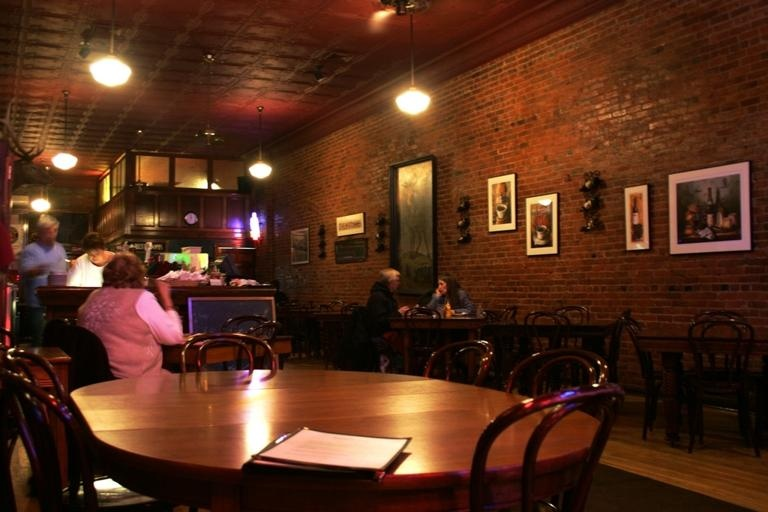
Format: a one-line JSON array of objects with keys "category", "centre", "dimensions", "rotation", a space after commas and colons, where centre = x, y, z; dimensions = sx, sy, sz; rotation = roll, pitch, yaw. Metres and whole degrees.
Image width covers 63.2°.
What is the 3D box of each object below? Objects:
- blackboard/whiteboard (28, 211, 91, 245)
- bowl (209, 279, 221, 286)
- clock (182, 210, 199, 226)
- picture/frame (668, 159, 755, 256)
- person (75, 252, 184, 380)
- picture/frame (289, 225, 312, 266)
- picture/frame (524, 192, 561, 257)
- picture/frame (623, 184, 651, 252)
[{"category": "blackboard/whiteboard", "centre": [-7.982, -0.693, 15.340], "dimensions": [1.780, 1.030, 0.117], "rotation": [0, -3, -23]}, {"category": "bowl", "centre": [-1.756, 0.282, 6.599], "dimensions": [0.148, 0.055, 0.094], "rotation": [1, 5, -26]}, {"category": "clock", "centre": [-4.924, -0.938, 16.024], "dimensions": [0.385, 0.366, 0.119], "rotation": [2, 6, -22]}, {"category": "picture/frame", "centre": [3.610, -0.524, 6.824], "dimensions": [0.058, 1.257, 1.212], "rotation": [9, -9, -43]}, {"category": "person", "centre": [-1.730, 0.403, 4.291], "dimensions": [0.651, 0.805, 0.437], "rotation": [2, 6, -22]}, {"category": "picture/frame", "centre": [-1.884, -0.225, 14.312], "dimensions": [0.043, 0.912, 1.026], "rotation": [4, -4, -24]}, {"category": "picture/frame", "centre": [2.183, -0.417, 8.526], "dimensions": [0.105, 0.851, 0.550], "rotation": [1, 6, -29]}, {"category": "picture/frame", "centre": [3.029, -0.450, 7.485], "dimensions": [0.071, 0.791, 0.374], "rotation": [1, 6, -31]}]
